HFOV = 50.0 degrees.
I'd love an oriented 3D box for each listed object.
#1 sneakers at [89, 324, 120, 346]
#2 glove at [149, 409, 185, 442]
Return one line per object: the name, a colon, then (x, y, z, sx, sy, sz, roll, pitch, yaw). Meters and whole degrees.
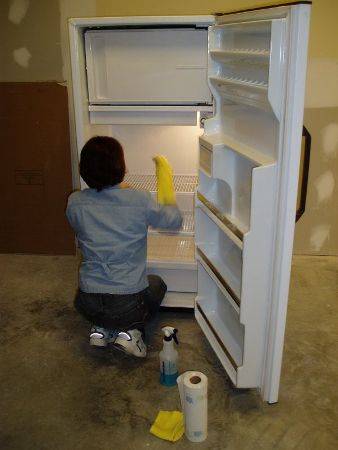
sneakers: (-0.325, 0.554, 1.852, 0.073, 0.096, 0.206, 4, 15, 11)
glove: (0.000, 0.738, 1.334, 0.118, 0.027, 0.142, 4, 15, 16)
